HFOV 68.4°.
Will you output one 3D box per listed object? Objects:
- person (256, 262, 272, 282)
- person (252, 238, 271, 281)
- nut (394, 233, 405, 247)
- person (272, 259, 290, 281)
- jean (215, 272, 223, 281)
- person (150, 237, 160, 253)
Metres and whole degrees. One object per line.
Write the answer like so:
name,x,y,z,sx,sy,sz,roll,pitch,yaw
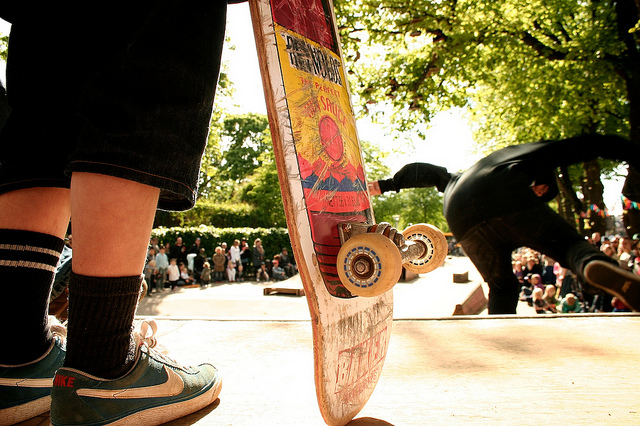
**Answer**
person,-2.090,2.131,16.907,0.561,0.754,0.545,-4,-7,-14
person,-2.136,1.733,16.970,0.583,1.479,1.481,-2,8,-8
nut,0.394,0.136,2.328,0.055,0.064,0.015,12,-7,-33
person,-1.505,2.112,16.839,0.637,0.893,0.498,-11,-4,-20
jean,-3.373,2.133,15.723,0.122,0.380,0.055,2,-4,-17
person,-5.104,1.014,14.534,0.209,0.816,0.114,-2,0,-32
